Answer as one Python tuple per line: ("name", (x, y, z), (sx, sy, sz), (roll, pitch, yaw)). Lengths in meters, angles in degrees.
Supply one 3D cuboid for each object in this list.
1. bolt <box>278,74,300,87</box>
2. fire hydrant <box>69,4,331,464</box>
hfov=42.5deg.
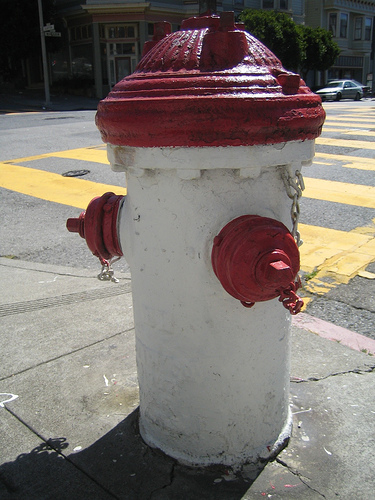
("bolt", (0.344, -0.577, 1.621), (0.053, 0.024, 0.058), (15, 35, 25))
("fire hydrant", (0.027, -0.024, 1.913), (0.903, 1.801, 0.591), (5, 17, 22))
